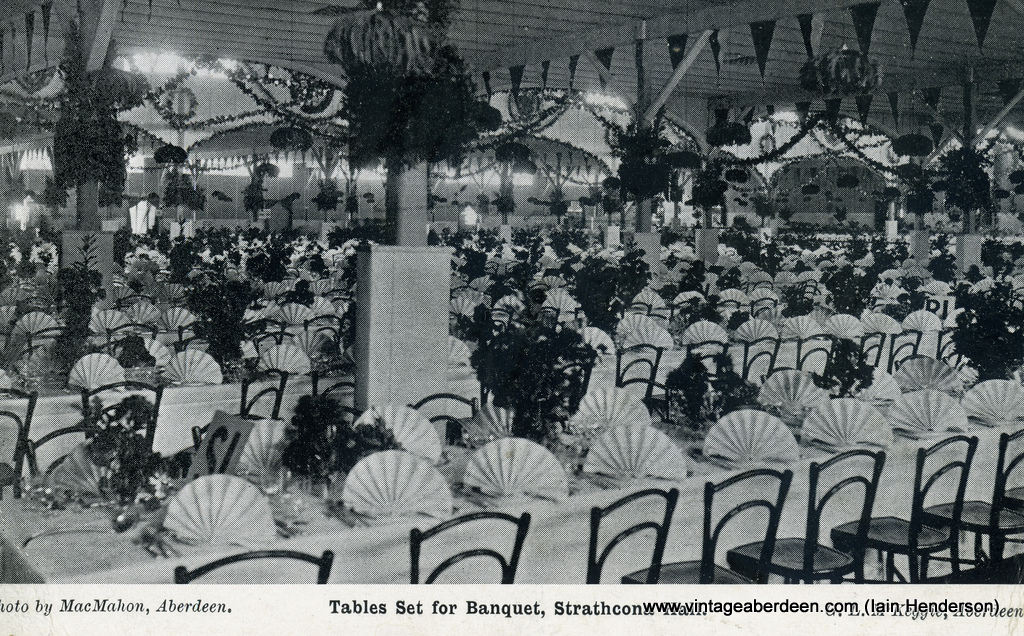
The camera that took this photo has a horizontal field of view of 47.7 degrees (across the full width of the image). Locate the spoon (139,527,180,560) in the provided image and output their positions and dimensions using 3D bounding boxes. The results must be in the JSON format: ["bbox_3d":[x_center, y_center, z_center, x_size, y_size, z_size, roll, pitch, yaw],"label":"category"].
[{"bbox_3d":[-2.827,1.813,9.338,0.218,0.067,0.229,27,17,-10],"label":"spoon"}]
